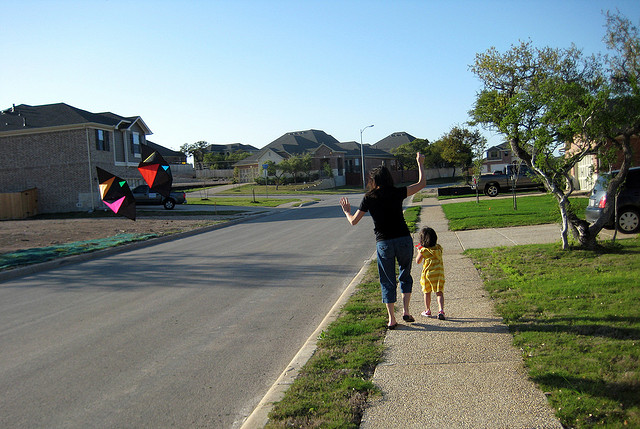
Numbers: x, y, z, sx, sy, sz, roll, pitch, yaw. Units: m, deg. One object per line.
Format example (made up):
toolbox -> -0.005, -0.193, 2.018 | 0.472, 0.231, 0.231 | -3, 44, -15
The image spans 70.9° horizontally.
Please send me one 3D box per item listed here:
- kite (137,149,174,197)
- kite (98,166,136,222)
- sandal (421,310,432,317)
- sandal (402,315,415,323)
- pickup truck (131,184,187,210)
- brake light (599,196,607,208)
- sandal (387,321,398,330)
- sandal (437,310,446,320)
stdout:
kite -> -6.827, -1.664, 18.577 | 1.139, 1.880, 1.479 | -5, 7, -23
kite -> -8.129, -0.747, 18.035 | 1.705, 1.883, 1.047 | 3, 8, 39
sandal -> 1.878, 1.743, 8.025 | 0.075, 0.091, 0.193 | -1, 6, -37
sandal -> 1.508, 1.785, 7.724 | 0.202, 0.089, 0.091 | 0, 6, 6
pickup truck -> -14.236, -1.667, 38.096 | 5.654, 2.367, 2.692 | 2, 15, -11
brake light -> 7.615, -0.335, 12.138 | 0.087, 0.310, 0.204 | 20, -16, -28
sandal -> 1.205, 1.859, 7.563 | 0.115, 0.141, 0.321 | -1, -5, 8
sandal -> 2.102, 1.746, 7.837 | 0.108, 0.119, 0.266 | -1, -13, 13
